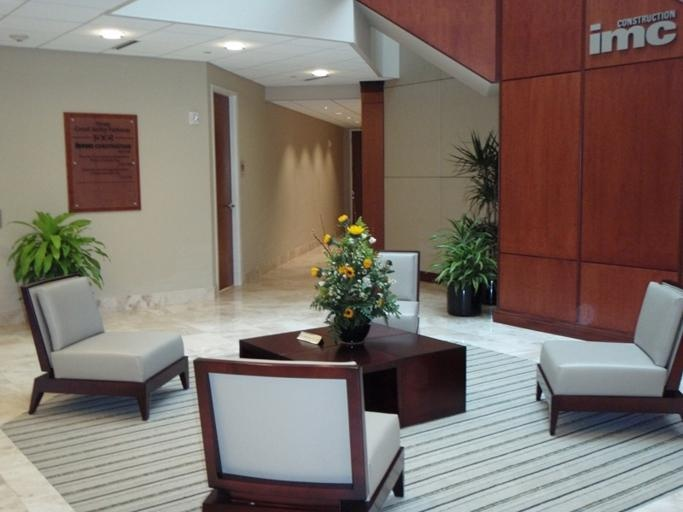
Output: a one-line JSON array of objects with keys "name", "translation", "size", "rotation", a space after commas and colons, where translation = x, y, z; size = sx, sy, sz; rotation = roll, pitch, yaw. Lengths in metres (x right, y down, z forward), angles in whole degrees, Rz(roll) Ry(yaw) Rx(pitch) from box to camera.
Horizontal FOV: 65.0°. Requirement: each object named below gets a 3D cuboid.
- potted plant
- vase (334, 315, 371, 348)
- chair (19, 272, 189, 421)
[{"name": "potted plant", "translation": [1.840, -0.589, 8.006], "size": [0.958, 2.543, 2.548], "rotation": [1, 9, 10]}, {"name": "vase", "translation": [0.082, 0.563, 4.232], "size": [0.239, 0.198, 0.254], "rotation": [1, 5, 1]}, {"name": "chair", "translation": [-1.917, 0.643, 4.677], "size": [1.085, 1.117, 1.137], "rotation": [1, 4, 1]}]
